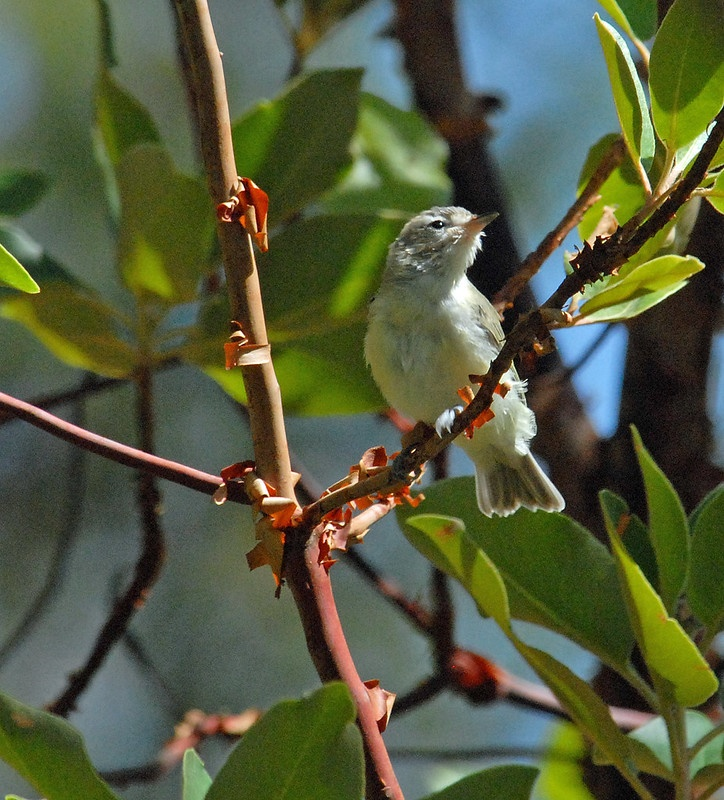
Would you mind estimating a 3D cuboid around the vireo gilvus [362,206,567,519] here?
[{"bbox_3d":[0.255,-0.032,2.211,0.312,0.382,0.692,-16,-56,14],"label":"vireo gilvus"}]
